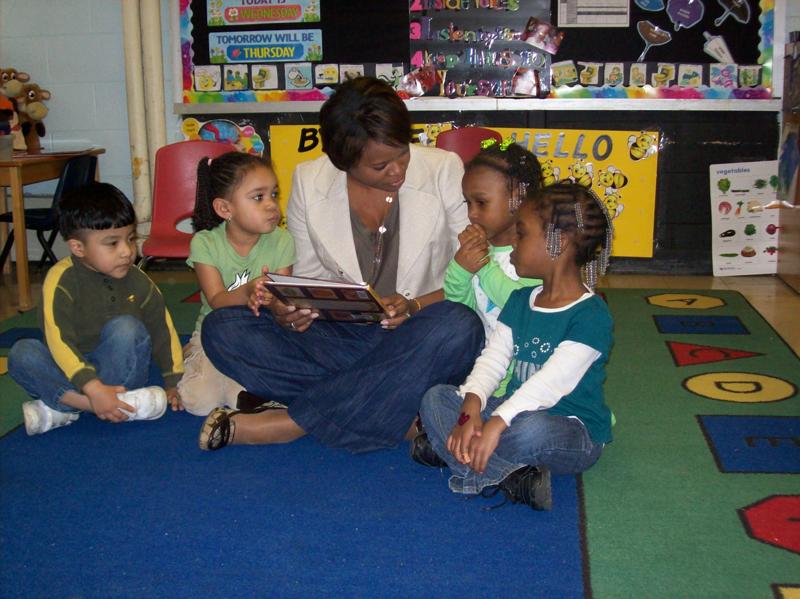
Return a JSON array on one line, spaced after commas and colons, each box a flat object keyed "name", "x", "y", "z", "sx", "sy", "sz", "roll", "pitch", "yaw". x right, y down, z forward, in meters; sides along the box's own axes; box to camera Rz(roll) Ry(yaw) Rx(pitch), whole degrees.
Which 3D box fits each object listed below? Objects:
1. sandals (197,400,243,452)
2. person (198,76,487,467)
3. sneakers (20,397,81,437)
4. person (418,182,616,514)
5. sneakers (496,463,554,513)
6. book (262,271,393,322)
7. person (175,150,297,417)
[{"name": "sandals", "x": -0.562, "y": 0.410, "z": 1.939, "sx": 0.065, "sy": 0.083, "sz": 0.146, "roll": 4, "pitch": 18, "yaw": 7}, {"name": "person", "x": -0.123, "y": -0.099, "z": 1.880, "sx": 0.803, "sy": 1.085, "sz": 0.992, "roll": 10, "pitch": 22, "yaw": 28}, {"name": "sneakers", "x": -1.190, "y": 0.399, "z": 2.110, "sx": 0.157, "sy": 0.094, "sz": 0.054, "roll": 1, "pitch": -2, "yaw": -42}, {"name": "person", "x": 0.351, "y": 0.089, "z": 1.748, "sx": 0.567, "sy": 0.811, "sz": 0.552, "roll": -10, "pitch": 11, "yaw": -31}, {"name": "sneakers", "x": 0.339, "y": 0.495, "z": 1.631, "sx": 0.069, "sy": 0.058, "sz": 0.159, "roll": -6, "pitch": 2, "yaw": -14}, {"name": "book", "x": -0.213, "y": -0.005, "z": 1.756, "sx": 0.339, "sy": 0.032, "sz": 0.458, "roll": 2, "pitch": -20, "yaw": 17}, {"name": "person", "x": -0.478, "y": -0.086, "z": 2.132, "sx": 0.639, "sy": 0.779, "sz": 0.607, "roll": 0, "pitch": 10, "yaw": -26}]
